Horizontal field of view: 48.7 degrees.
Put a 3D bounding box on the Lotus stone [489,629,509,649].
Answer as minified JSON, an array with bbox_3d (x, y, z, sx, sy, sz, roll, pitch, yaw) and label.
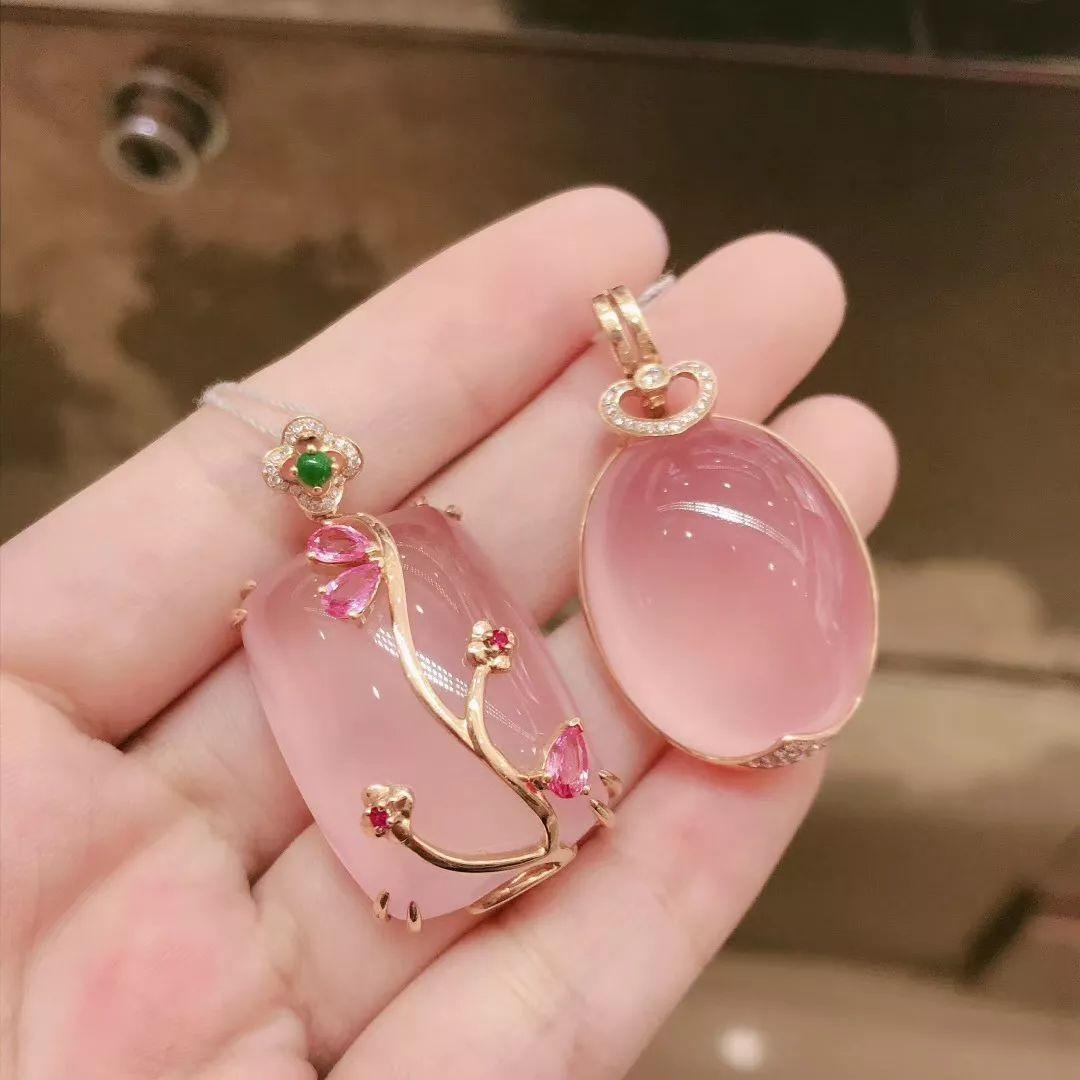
[{"bbox_3d":[-0.066,0.180,2.123,0.041,0.014,0.030,-9,71,-40],"label":"Lotus stone"}]

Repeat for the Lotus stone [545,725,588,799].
[{"bbox_3d":[0.057,0.396,2.092,0.128,0.039,0.112,10,76,-33],"label":"Lotus stone"}]

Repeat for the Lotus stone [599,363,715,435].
[{"bbox_3d":[0.237,-0.272,2.362,0.202,0.058,0.167,-22,52,4],"label":"Lotus stone"}]

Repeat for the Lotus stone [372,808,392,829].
[{"bbox_3d":[-0.265,0.473,2.008,0.033,0.017,0.035,-23,87,5],"label":"Lotus stone"}]

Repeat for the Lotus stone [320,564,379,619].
[{"bbox_3d":[-0.334,0.098,2.199,0.116,0.030,0.088,-42,81,-10],"label":"Lotus stone"}]
